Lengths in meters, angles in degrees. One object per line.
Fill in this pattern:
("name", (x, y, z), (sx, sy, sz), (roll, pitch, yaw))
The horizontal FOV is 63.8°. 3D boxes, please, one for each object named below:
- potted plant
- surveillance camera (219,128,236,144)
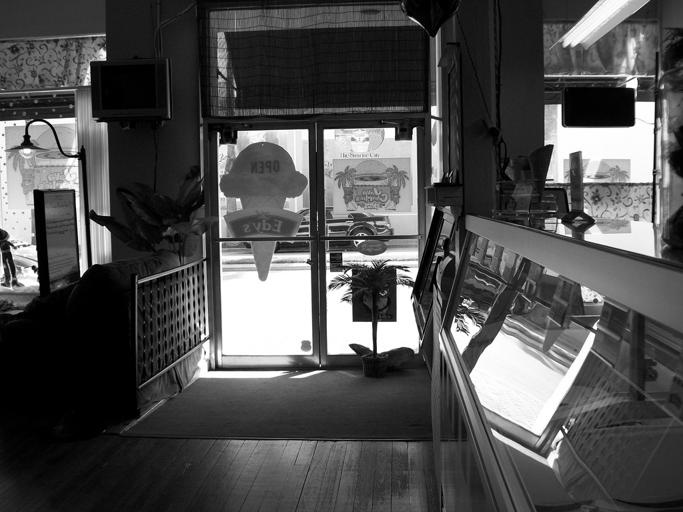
("potted plant", (0.351, 0.624, 5.525), (1.018, 1.335, 0.932), (2, 9, 21))
("surveillance camera", (-1.124, -1.176, 5.391), (0.149, 0.160, 0.134), (0, 1, -4))
